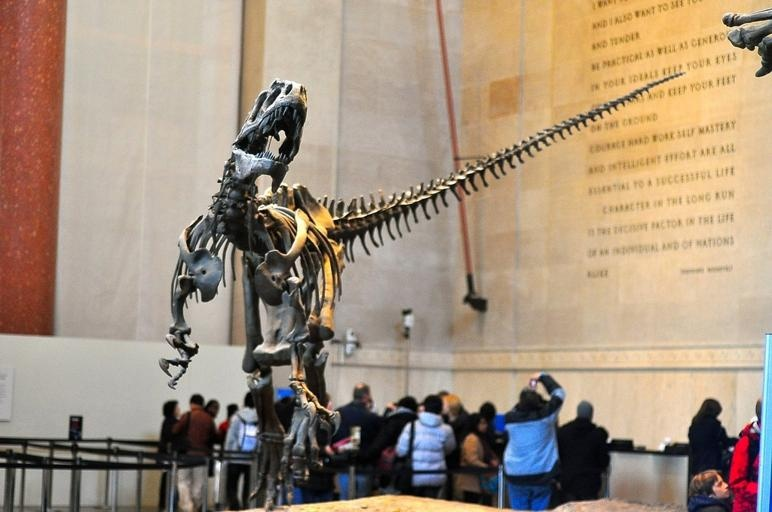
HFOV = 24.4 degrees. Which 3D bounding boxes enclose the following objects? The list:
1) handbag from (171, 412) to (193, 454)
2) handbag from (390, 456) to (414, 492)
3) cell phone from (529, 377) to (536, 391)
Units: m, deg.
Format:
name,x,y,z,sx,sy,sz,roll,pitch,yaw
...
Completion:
name,x,y,z,sx,sy,sz,roll,pitch,yaw
handbag,-2.637,2.262,22.879,0.141,0.444,0.328,9,5,-2
handbag,0.198,2.654,22.070,0.266,0.496,0.285,1,32,3
cell phone,1.803,1.542,21.770,0.042,0.132,0.127,6,-3,-42
